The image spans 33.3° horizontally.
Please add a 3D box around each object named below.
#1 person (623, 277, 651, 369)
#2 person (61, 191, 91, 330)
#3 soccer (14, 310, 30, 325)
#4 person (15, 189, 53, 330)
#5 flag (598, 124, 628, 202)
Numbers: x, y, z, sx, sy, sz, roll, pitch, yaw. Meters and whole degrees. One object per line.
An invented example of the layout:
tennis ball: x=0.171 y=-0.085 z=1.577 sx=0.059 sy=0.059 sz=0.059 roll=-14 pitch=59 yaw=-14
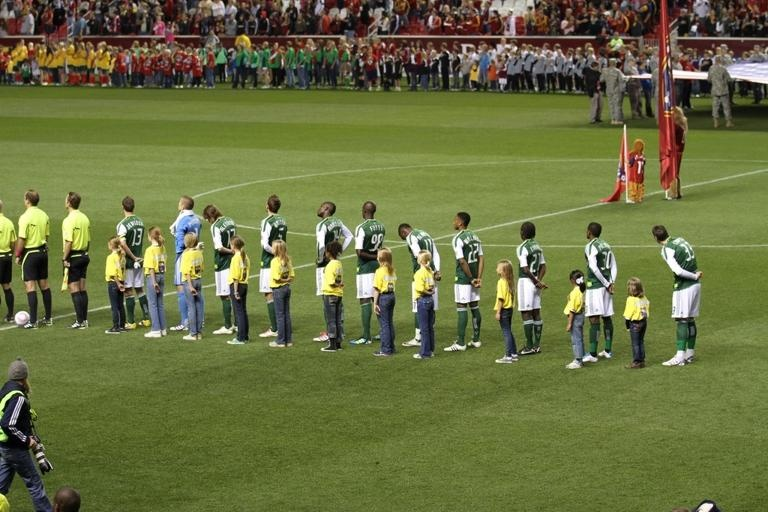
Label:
person: x=6.499 y=1.700 z=32.999 sx=0.535 sy=2.206 sz=0.690 roll=-2 pitch=-2 yaw=43
person: x=-8.796 y=0.106 z=36.530 sx=0.749 sy=3.764 sz=1.324 roll=-4 pitch=4 yaw=-15
soccer: x=-9.988 y=1.669 z=35.156 sx=0.377 sy=0.446 sz=0.418 roll=-2 pitch=4 yaw=1
person: x=-9.962 y=0.066 z=36.268 sx=0.879 sy=3.781 sz=0.846 roll=-4 pitch=4 yaw=-17
flag: x=8.773 y=-3.397 z=48.188 sx=0.841 sy=2.787 sz=2.698 roll=-2 pitch=4 yaw=10
